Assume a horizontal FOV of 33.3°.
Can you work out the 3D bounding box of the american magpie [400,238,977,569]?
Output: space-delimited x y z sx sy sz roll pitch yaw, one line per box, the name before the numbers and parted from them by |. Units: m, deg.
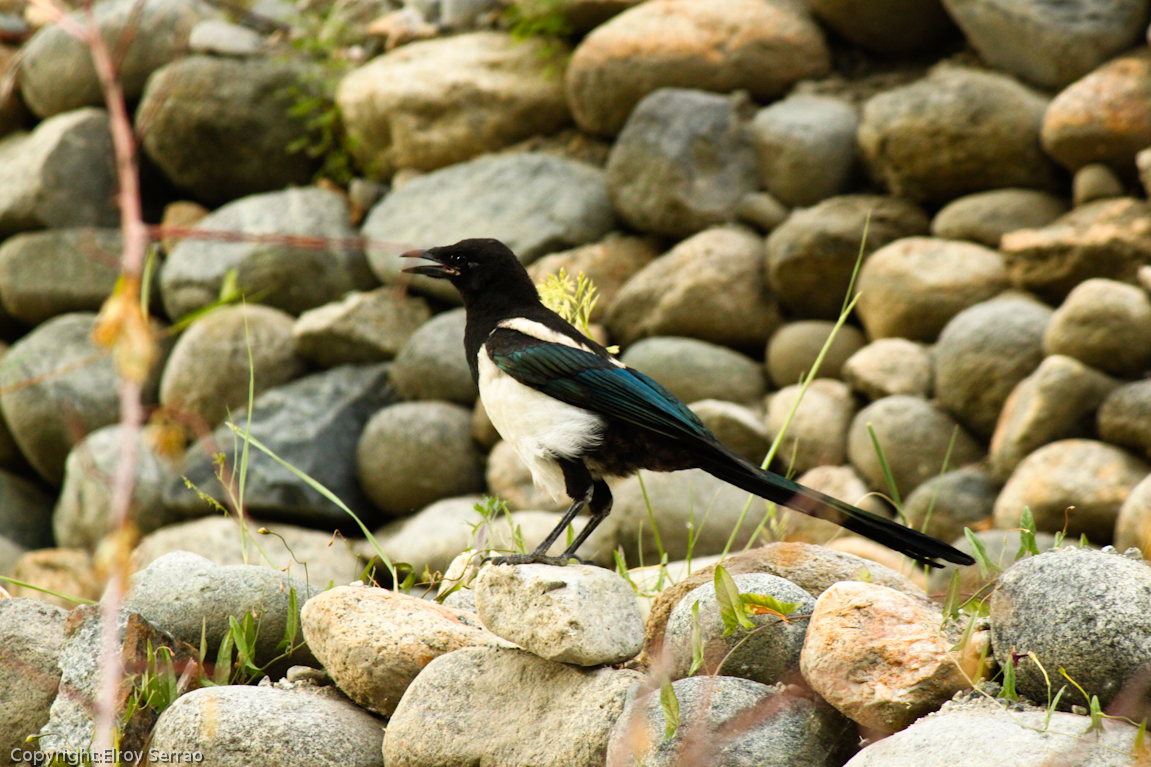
american magpie | 0.292 0.100 6.054 1.746 0.449 1.048 4 74 9
